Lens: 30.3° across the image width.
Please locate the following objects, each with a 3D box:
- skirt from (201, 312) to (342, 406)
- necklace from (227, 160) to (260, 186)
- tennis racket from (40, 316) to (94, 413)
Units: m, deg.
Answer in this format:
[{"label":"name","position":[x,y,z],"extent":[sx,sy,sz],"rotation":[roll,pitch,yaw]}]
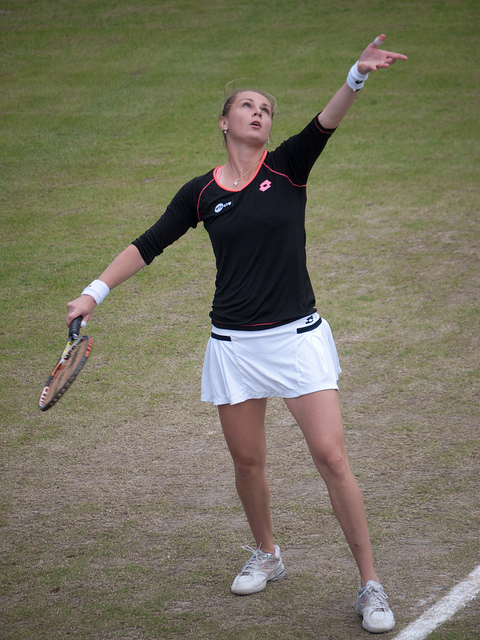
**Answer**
[{"label":"skirt","position":[0.217,0.168,4.484],"extent":[0.808,0.413,0.419],"rotation":[-7,7,37]},{"label":"necklace","position":[-0.022,-0.736,4.443],"extent":[0.164,0.086,0.189],"rotation":[-28,27,-36]},{"label":"tennis racket","position":[-1.112,0.312,5.705],"extent":[0.068,0.323,0.825],"rotation":[38,20,-7]}]
